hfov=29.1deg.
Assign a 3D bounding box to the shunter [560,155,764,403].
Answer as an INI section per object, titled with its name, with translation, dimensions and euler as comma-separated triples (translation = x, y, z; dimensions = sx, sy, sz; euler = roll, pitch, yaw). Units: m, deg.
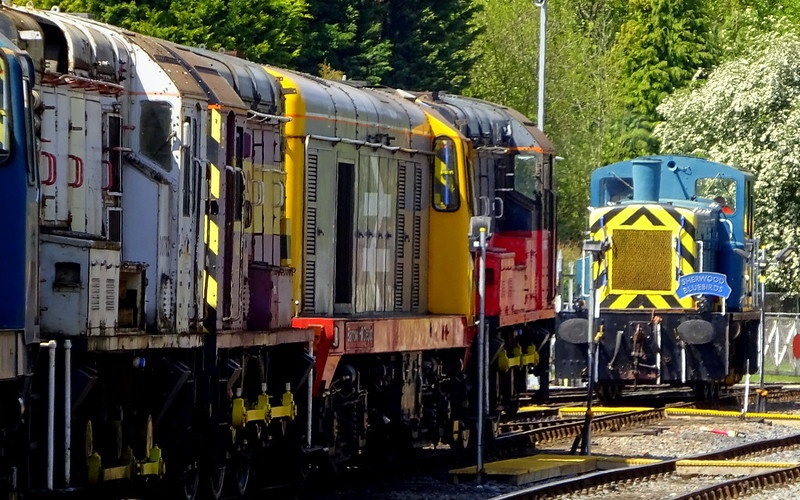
[shunter]
translation = 6.358, 0.652, 34.701
dimensions = 3.685, 5.110, 10.469
euler = 2, -3, 20
